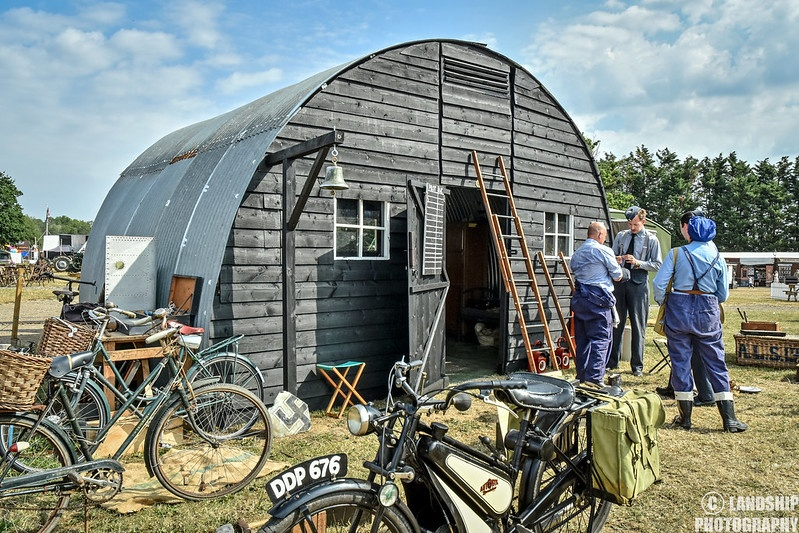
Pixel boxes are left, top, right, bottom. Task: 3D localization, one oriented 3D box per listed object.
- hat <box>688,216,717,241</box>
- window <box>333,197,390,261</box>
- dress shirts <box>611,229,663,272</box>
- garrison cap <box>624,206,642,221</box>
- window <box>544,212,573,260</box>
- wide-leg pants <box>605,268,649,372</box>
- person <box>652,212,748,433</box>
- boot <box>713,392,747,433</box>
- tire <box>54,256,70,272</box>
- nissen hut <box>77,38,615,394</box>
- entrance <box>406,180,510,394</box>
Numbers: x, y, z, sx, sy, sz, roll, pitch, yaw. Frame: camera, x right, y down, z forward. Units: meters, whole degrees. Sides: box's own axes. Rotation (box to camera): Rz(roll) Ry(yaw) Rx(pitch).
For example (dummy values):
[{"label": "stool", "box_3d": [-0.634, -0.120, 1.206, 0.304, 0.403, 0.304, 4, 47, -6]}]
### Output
[{"label": "hat", "box_3d": [3.705, -0.478, 7.309, 0.277, 0.321, 0.311, 7, -31, 8]}, {"label": "window", "box_3d": [-0.550, -0.563, 8.681, 1.047, 0.894, 0.109, 6, 8, 38]}, {"label": "dress shirts", "box_3d": [3.721, -0.231, 9.450, 0.940, 0.851, 0.494, 0, -4, 44]}, {"label": "garrison cap", "box_3d": [3.731, -0.847, 9.579, 0.216, 0.318, 0.579, -1, -6, 21]}, {"label": "window", "box_3d": [2.902, -0.572, 11.067, 1.072, 0.962, 0.071, 1, -1, -41]}, {"label": "wide-leg pants", "box_3d": [3.708, 0.922, 9.882, 0.647, 1.867, 0.424, 2, 15, 18]}, {"label": "person", "box_3d": [3.568, 0.700, 7.246, 0.821, 2.553, 0.415, -2, -7, 31]}, {"label": "boot", "box_3d": [3.932, 1.743, 7.143, 0.442, 0.472, 0.204, 4, -6, -26]}, {"label": "tire", "box_3d": [-4.991, -0.030, 8.866, 0.203, 0.187, 0.079, 25, -5, -34]}, {"label": "nissen hut", "box_3d": [-2.075, -0.871, 10.900, 6.923, 3.903, 6.822, 0, -1, -38]}, {"label": "entrance", "box_3d": [1.016, 0.314, 9.900, 1.247, 3.193, 3.719, -3, -3, 28]}]
